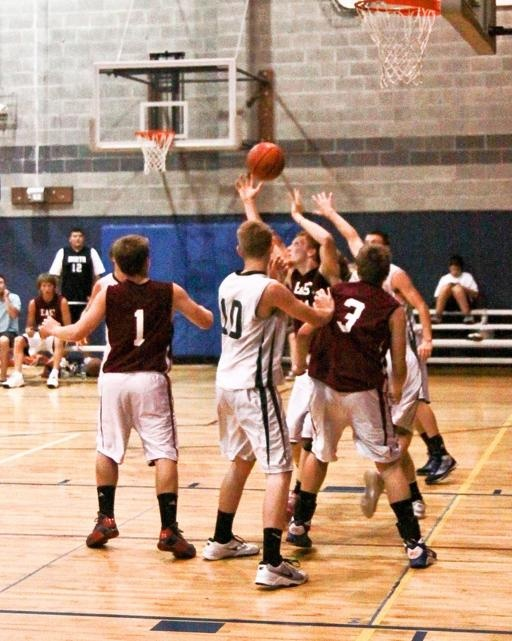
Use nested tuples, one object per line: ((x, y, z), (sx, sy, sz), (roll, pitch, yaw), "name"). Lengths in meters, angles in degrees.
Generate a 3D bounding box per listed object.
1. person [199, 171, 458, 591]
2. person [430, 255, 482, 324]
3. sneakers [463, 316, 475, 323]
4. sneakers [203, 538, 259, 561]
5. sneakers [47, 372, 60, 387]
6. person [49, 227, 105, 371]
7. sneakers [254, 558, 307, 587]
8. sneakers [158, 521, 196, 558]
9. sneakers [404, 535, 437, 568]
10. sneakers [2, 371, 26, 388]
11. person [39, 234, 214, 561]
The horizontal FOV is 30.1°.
((0.354, 0.291, 3.936), (0.833, 1.398, 1.158), (1, 8, 0), "person")
((2.267, -0.359, 10.888), (0.485, 0.792, 0.612), (0, -6, 18), "person")
((2.388, -0.015, 10.693), (0.106, 0.080, 0.117), (3, 8, 15), "sneakers")
((-0.101, 0.933, 3.919), (0.234, 0.092, 0.082), (0, 0, -26), "sneakers")
((-2.084, 0.614, 9.857), (0.086, 0.115, 0.268), (3, 6, -4), "sneakers")
((-2.110, -0.334, 11.173), (0.736, 1.421, 0.435), (-2, 8, -26), "person")
((0.088, 0.934, 3.531), (0.215, 0.102, 0.077), (1, 1, -31), "sneakers")
((-0.318, 0.901, 3.890), (0.149, 0.168, 0.174), (1, 8, -2), "sneakers")
((0.644, 0.908, 3.751), (0.066, 0.081, 0.184), (3, 6, 18), "sneakers")
((-2.518, 0.627, 9.977), (0.196, 0.157, 0.340), (2, 8, 8), "sneakers")
((-0.509, 0.322, 3.942), (0.604, 1.328, 0.311), (4, 8, 19), "person")
